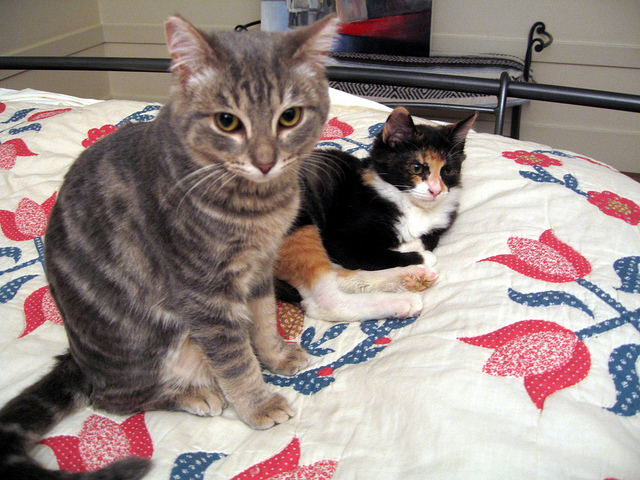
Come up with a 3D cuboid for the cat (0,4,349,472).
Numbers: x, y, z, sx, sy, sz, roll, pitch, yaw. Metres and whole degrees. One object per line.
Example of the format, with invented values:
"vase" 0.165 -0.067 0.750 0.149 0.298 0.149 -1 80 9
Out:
"cat" -0.387 -0.015 1.365 0.705 1.021 0.795 6 27 8
